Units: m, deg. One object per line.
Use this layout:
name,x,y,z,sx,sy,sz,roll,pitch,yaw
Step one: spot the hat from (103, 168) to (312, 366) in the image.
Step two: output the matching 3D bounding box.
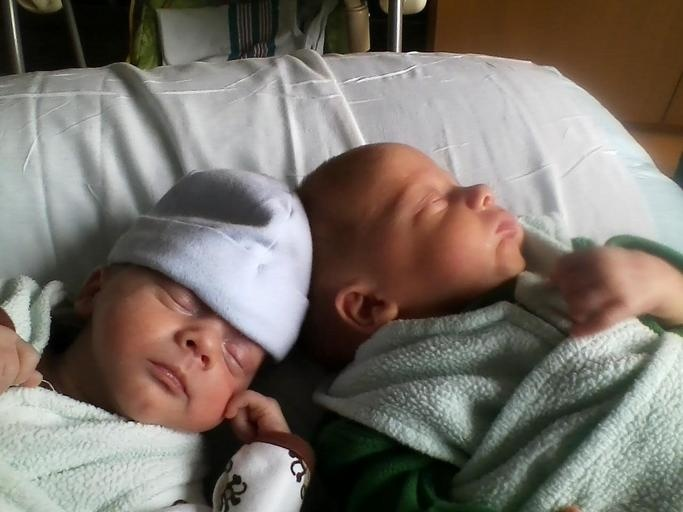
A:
hat,-0.186,-0.016,1.110,0.288,0.293,0.248,29,80,2
